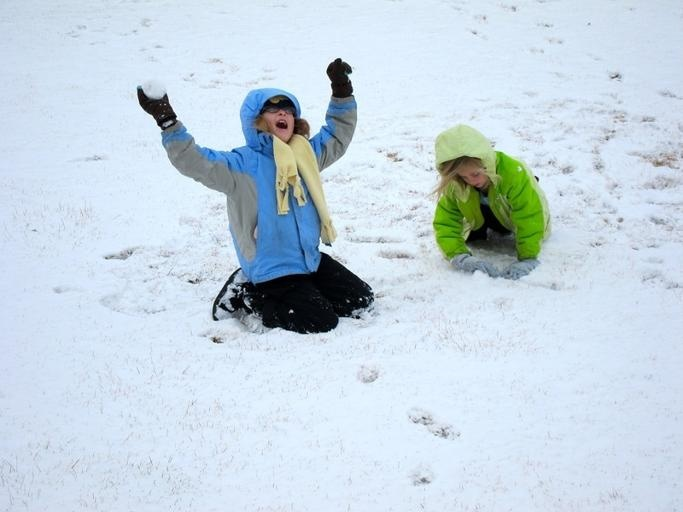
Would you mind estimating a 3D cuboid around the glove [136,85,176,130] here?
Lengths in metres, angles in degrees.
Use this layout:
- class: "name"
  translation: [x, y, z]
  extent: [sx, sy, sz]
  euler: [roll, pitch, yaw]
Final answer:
- class: "glove"
  translation: [-1.665, -1.320, 6.024]
  extent: [0.222, 0.598, 0.358]
  euler: [-6, 67, -17]

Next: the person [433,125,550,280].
- class: "person"
  translation: [1.535, -0.521, 6.926]
  extent: [1.020, 1.537, 1.020]
  euler: [-12, 36, -14]
